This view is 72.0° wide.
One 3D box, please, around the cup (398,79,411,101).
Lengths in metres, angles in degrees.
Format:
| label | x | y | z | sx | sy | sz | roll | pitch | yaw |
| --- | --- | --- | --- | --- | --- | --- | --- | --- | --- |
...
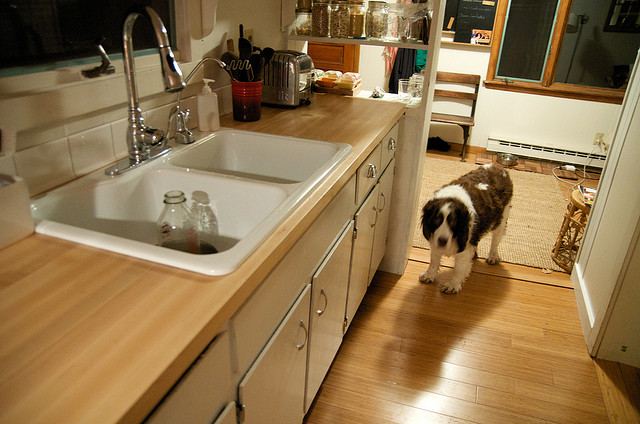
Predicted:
| label | x | y | z | sx | sy | sz | roll | pitch | yaw |
| --- | --- | --- | --- | --- | --- | --- | --- | --- | --- |
| cup | 0.547 | -0.798 | 2.860 | 0.086 | 0.125 | 0.122 | 1 | 25 | -5 |

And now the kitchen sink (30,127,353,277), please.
| label | x | y | z | sx | sy | sz | roll | pitch | yaw |
| --- | --- | --- | --- | --- | --- | --- | --- | --- | --- |
| kitchen sink | -0.480 | 0.203 | 1.691 | 0.580 | 0.239 | 0.909 | 15 | 33 | 15 |

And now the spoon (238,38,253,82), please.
| label | x | y | z | sx | sy | sz | roll | pitch | yaw |
| --- | --- | --- | --- | --- | --- | --- | --- | --- | --- |
| spoon | -0.364 | -0.739 | 2.145 | 0.059 | 0.199 | 0.052 | -2 | 25 | -11 |

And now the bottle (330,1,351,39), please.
| label | x | y | z | sx | sy | sz | roll | pitch | yaw |
| --- | --- | --- | --- | --- | --- | --- | --- | --- | --- |
| bottle | 0.125 | -1.174 | 2.689 | 0.109 | 0.209 | 0.097 | -5 | 26 | -16 |

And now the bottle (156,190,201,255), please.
| label | x | y | z | sx | sy | sz | roll | pitch | yaw |
| --- | --- | --- | --- | --- | --- | --- | --- | --- | --- |
| bottle | -0.463 | 0.028 | 1.467 | 0.134 | 0.185 | 0.128 | 2 | 25 | -1 |

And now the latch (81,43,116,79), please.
| label | x | y | z | sx | sy | sz | roll | pitch | yaw |
| --- | --- | --- | --- | --- | --- | --- | --- | --- | --- |
| latch | -0.811 | -0.562 | 1.627 | 0.108 | 0.128 | 0.076 | -8 | 13 | -7 |

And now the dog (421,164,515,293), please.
| label | x | y | z | sx | sy | sz | roll | pitch | yaw |
| --- | --- | --- | --- | --- | --- | --- | --- | --- | --- |
| dog | 1.091 | 0.093 | 3.219 | 0.358 | 0.752 | 1.273 | 19 | 31 | 36 |

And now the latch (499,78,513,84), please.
| label | x | y | z | sx | sy | sz | roll | pitch | yaw |
| --- | --- | --- | --- | --- | --- | --- | --- | --- | --- |
| latch | 2.234 | -1.563 | 5.260 | 0.064 | 0.038 | 0.102 | 4 | 30 | 7 |

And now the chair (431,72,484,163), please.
| label | x | y | z | sx | sy | sz | roll | pitch | yaw |
| --- | --- | --- | --- | --- | --- | --- | --- | --- | --- |
| chair | 1.605 | -1.176 | 5.322 | 0.541 | 0.928 | 0.678 | 11 | 26 | 18 |

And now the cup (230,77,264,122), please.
| label | x | y | z | sx | sy | sz | roll | pitch | yaw |
| --- | --- | --- | --- | --- | --- | --- | --- | --- | --- |
| cup | -0.374 | -0.586 | 2.263 | 0.166 | 0.183 | 0.164 | 2 | 22 | -1 |

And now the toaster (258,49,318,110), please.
| label | x | y | z | sx | sy | sz | roll | pitch | yaw |
| --- | --- | --- | --- | --- | --- | --- | --- | --- | --- |
| toaster | -0.199 | -0.804 | 2.666 | 0.256 | 0.291 | 0.392 | 10 | 21 | 13 |

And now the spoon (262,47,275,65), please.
| label | x | y | z | sx | sy | sz | roll | pitch | yaw |
| --- | --- | --- | --- | --- | --- | --- | --- | --- | --- |
| spoon | -0.266 | -0.788 | 2.195 | 0.057 | 0.095 | 0.034 | 21 | 6 | 24 |
